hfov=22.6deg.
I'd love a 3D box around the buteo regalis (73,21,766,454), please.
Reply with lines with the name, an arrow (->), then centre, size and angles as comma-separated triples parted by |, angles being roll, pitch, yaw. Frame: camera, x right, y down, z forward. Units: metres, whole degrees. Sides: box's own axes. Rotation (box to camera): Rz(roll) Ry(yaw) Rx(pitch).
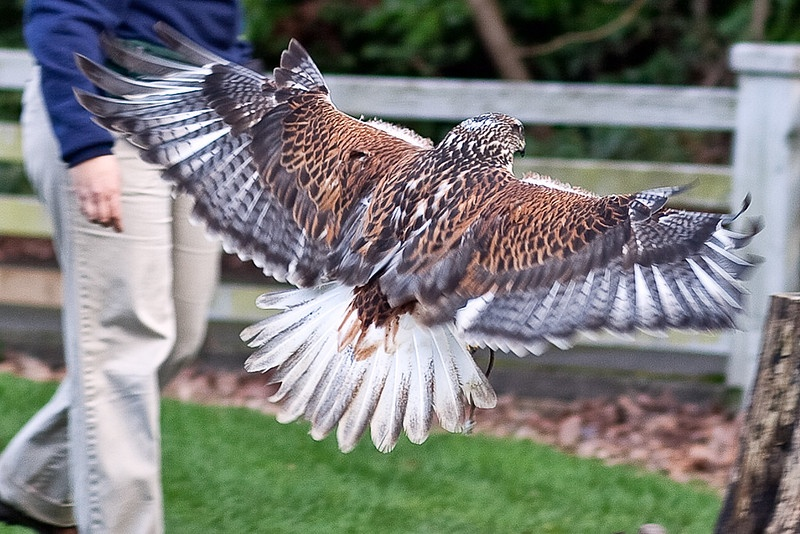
buteo regalis -> 0.091, -0.109, 9.427 | 3.449, 1.354, 1.609 | 21, 37, 21
